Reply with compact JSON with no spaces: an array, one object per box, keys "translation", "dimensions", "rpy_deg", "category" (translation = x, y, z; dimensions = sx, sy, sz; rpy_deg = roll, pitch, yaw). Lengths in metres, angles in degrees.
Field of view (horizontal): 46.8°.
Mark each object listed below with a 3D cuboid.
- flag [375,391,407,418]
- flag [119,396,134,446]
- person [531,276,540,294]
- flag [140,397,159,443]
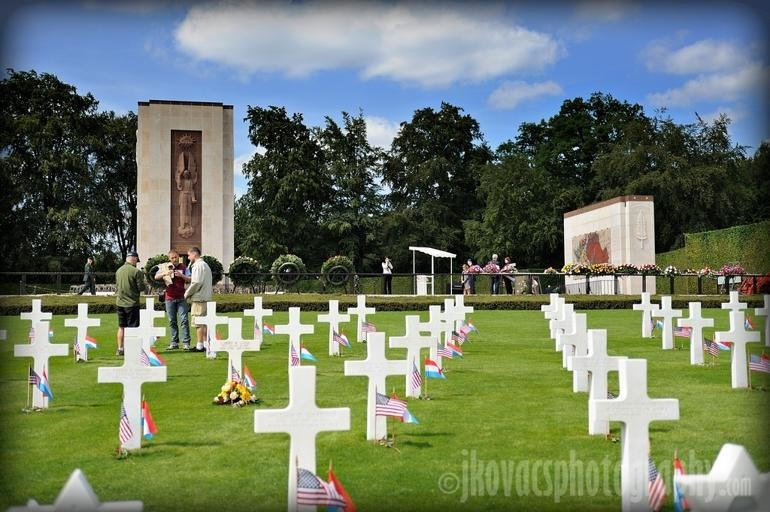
[{"translation":[0.103,2.624,15.457],"dimensions":[0.685,0.510,0.062],"rpy_deg":[7,-23,16],"category":"flag"},{"translation":[-4.409,2.877,15.174],"dimensions":[0.204,0.762,0.262],"rpy_deg":[1,-3,-20],"category":"flag"},{"translation":[7.578,1.519,44.631],"dimensions":[0.316,0.277,0.760],"rpy_deg":[-2,26,5],"category":"person"},{"translation":[-4.154,2.865,15.697],"dimensions":[0.246,0.746,1.275],"rpy_deg":[0,-3,-14],"category":"flag"}]
